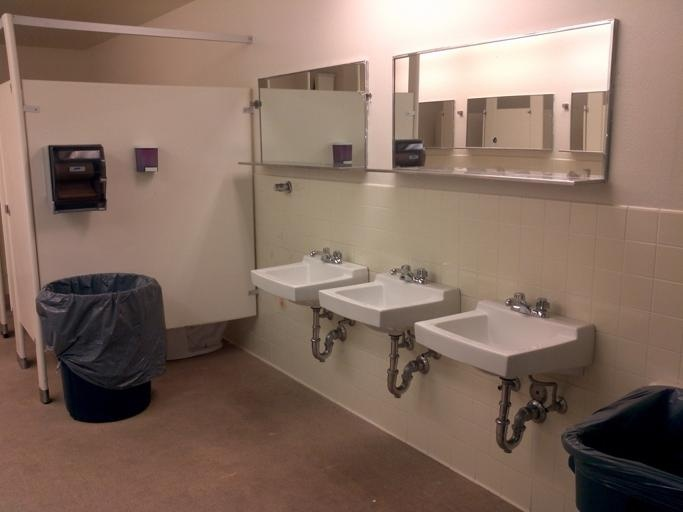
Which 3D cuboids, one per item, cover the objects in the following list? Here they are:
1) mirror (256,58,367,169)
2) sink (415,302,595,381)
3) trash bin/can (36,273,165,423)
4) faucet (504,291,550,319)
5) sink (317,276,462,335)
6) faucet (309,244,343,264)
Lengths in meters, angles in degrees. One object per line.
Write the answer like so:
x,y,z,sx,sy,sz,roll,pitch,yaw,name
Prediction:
-0.210,-0.863,3.368,0.150,0.611,1.026,-12,15,-39,mirror
0.696,0.378,2.295,0.595,0.229,0.501,-9,13,-32,sink
-1.493,0.589,3.428,0.749,0.838,0.712,13,16,38,trash bin/can
0.839,0.222,2.410,0.068,0.100,0.229,-8,9,-40,faucet
0.242,0.270,2.866,0.556,0.247,0.622,-4,8,-29,sink
-0.097,-0.022,3.401,0.083,0.102,0.272,-4,12,-29,faucet
